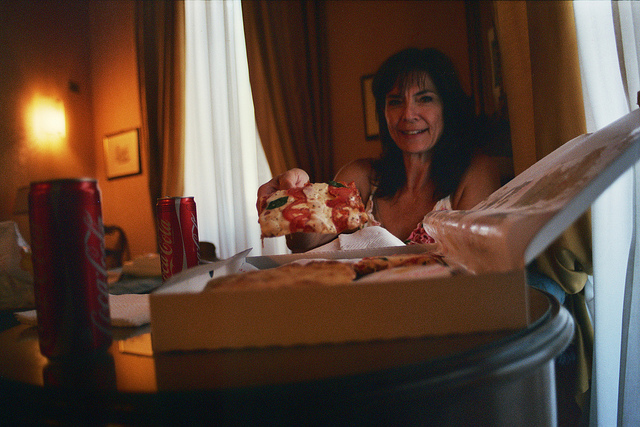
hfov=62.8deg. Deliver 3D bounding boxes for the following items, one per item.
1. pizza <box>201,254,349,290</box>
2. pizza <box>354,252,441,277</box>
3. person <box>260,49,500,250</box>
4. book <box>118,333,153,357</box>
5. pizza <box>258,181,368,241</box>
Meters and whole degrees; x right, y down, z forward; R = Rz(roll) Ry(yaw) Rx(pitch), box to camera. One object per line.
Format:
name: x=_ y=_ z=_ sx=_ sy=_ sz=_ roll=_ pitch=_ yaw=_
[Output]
pizza: x=-0.126 y=0.179 z=1.567 sx=0.422 sy=0.072 sz=0.310 roll=-8 pitch=3 yaw=3
pizza: x=0.230 y=0.133 z=1.517 sx=0.282 sy=0.041 sz=0.131 roll=-9 pitch=3 yaw=-18
person: x=0.366 y=-0.370 z=2.724 sx=0.933 sy=1.330 sz=0.799 roll=-8 pitch=-22 yaw=34
book: x=-0.533 y=0.381 z=1.533 sx=0.063 sy=0.016 sz=0.060 roll=0 pitch=16 yaw=12
pizza: x=-0.032 y=0.007 z=1.831 sx=0.297 sy=0.082 sz=0.216 roll=-6 pitch=45 yaw=1
